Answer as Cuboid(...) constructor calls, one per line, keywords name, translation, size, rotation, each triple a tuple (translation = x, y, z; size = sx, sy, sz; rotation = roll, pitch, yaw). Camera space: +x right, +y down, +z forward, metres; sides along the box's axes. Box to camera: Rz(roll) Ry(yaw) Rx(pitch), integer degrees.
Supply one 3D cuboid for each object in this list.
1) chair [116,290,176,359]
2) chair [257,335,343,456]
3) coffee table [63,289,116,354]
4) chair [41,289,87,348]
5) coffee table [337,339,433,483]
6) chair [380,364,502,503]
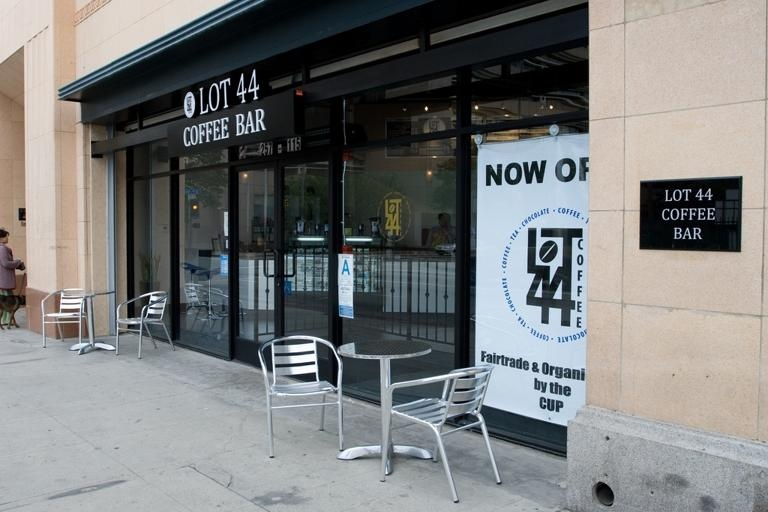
Cuboid(name="chair", translation=(-4.234, 1.148, 10.623), size=(0.792, 1.055, 0.877), rotation=(0, 0, 23))
Cuboid(name="chair", translation=(-0.922, 1.493, 6.542), size=(1.039, 1.161, 1.022), rotation=(-1, 0, 30))
Cuboid(name="coffee table", translation=(-5.292, 1.156, 10.840), size=(1.038, 1.094, 1.009), rotation=(-6, -1, -18))
Cuboid(name="chair", translation=(-5.977, 1.159, 11.250), size=(0.728, 0.936, 0.664), rotation=(6, 4, -13))
Cuboid(name="coffee table", translation=(0.021, 1.535, 6.181), size=(1.020, 1.042, 0.956), rotation=(-6, -10, 27))
Cuboid(name="chair", translation=(0.534, 1.607, 5.774), size=(0.968, 1.172, 1.073), rotation=(0, 2, -32))
